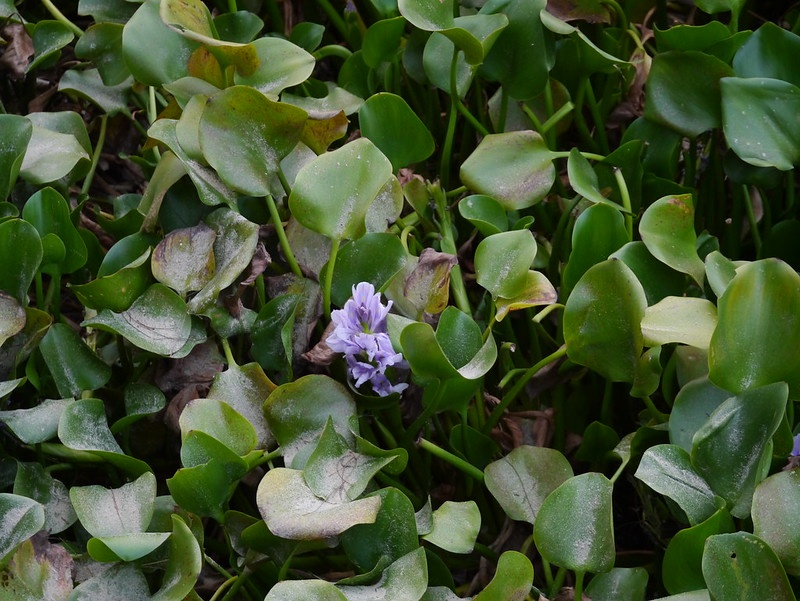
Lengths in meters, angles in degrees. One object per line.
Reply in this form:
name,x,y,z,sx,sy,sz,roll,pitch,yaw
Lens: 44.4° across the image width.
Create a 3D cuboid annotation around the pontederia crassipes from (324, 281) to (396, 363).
pontederia crassipes,-0.033,0.027,0.910,0.069,0.040,0.075,5,23,22
